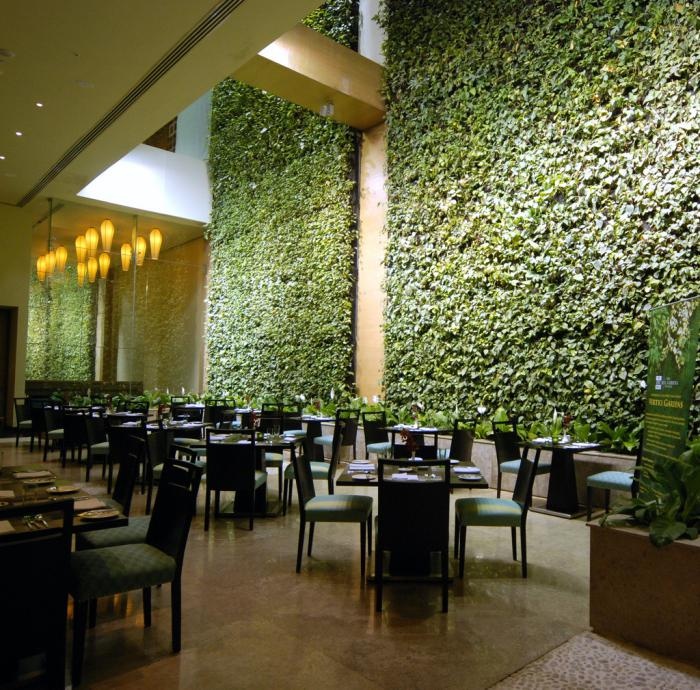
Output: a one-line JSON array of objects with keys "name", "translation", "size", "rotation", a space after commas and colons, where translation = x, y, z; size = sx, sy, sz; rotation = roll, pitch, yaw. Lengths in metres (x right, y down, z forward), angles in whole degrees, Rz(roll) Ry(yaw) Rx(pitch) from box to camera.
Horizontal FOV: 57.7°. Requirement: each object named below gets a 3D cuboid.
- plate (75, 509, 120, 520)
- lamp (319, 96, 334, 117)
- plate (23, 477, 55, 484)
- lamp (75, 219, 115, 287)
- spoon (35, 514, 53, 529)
[{"name": "plate", "translation": [-1.231, 0.815, 3.092], "size": [0.172, 0.020, 0.237], "rotation": [1, -1, -36]}, {"name": "lamp", "translation": [-0.359, -3.541, 9.380], "size": [0.184, 0.244, 0.177], "rotation": [6, 8, 27]}, {"name": "plate", "translation": [-1.789, 0.765, 3.614], "size": [0.120, 0.019, 0.061], "rotation": [1, -4, 12]}, {"name": "lamp", "translation": [-5.012, -1.836, 12.373], "size": [0.709, 1.236, 0.403], "rotation": [0, 0, -32]}, {"name": "spoon", "translation": [-1.365, 0.774, 2.816], "size": [0.076, 0.041, 0.048], "rotation": [8, -2, 36]}]
